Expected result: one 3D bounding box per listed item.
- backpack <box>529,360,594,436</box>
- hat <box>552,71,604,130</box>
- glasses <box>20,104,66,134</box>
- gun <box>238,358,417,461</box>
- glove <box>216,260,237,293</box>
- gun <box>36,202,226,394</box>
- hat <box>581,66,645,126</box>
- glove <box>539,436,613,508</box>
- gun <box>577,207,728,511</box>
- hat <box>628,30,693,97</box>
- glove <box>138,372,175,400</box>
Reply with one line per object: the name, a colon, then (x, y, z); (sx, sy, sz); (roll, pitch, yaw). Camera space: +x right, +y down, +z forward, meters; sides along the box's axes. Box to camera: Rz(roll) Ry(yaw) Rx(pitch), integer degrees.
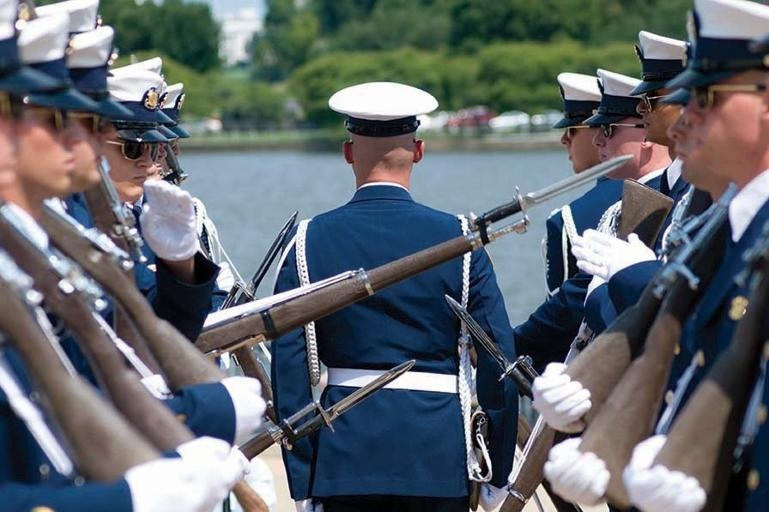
backpack: (0.837, 0.691, 8.815); (0.115, 0.312, 0.257); (-43, -26, -15)
hat: (1.239, -1.002, 11.944); (0.380, 0.212, 0.305); (-1, -2, 8)
glasses: (-1.539, -0.626, 8.553); (0.112, 0.040, 0.150); (6, 10, -40)
gun: (-0.257, 0.810, 9.816); (1.046, 0.212, 0.148); (-25, 0, 1)
glove: (-0.929, 0.122, 11.068); (0.141, 0.175, 0.068); (-3, 6, -35)
gun: (-1.227, 0.223, 8.964); (0.259, 1.246, 0.061); (-45, 10, 34)
hat: (1.363, -0.943, 11.120); (0.374, 0.189, 0.286); (1, -4, -11)
glove: (0.883, 0.988, 8.573); (0.254, 0.120, 0.308); (30, 3, 27)
gun: (1.274, 0.523, 8.759); (0.394, 1.568, 0.296); (11, -22, 49)
hat: (1.521, -1.072, 10.412); (0.449, 0.289, 0.363); (1, -3, 4)
glove: (-1.089, 0.631, 9.024); (0.052, 0.133, 0.105); (-22, 16, 48)
